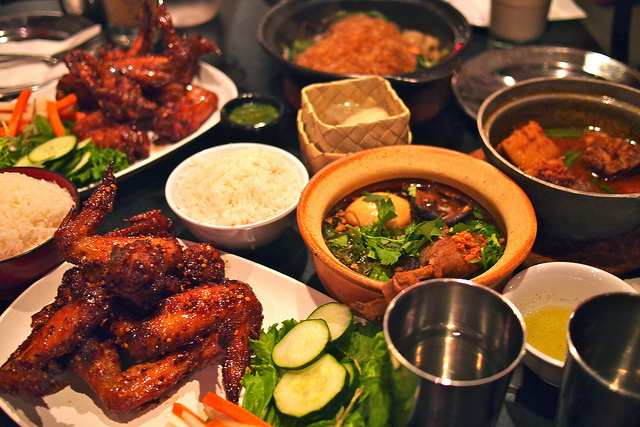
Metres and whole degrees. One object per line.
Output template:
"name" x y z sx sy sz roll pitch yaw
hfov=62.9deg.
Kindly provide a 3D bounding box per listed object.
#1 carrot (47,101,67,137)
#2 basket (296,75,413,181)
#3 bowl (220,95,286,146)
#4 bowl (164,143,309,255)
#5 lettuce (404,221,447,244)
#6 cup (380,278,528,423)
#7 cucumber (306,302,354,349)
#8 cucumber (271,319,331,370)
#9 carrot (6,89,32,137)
"carrot" -1.810 -0.642 3.571 0.082 0.058 0.400 -34 58 1
"basket" 0.197 -0.446 3.119 0.592 0.477 0.661 -13 39 -4
"bowl" -0.435 -0.637 3.467 0.387 0.233 0.372 0 45 0
"bowl" -0.529 -0.085 3.055 0.625 0.367 0.680 -3 58 5
"lettuce" 0.511 0.077 2.604 0.232 0.062 0.067 -23 59 -8
"cup" 0.535 0.579 2.153 0.549 0.394 0.539 -3 58 5
"cucumber" 0.076 0.503 2.479 0.216 0.054 0.196 -15 40 23
"cucumber" -0.075 0.600 2.400 0.252 0.061 0.204 -38 26 -1
"carrot" -2.054 -0.697 3.604 0.077 0.051 0.368 18 66 0
